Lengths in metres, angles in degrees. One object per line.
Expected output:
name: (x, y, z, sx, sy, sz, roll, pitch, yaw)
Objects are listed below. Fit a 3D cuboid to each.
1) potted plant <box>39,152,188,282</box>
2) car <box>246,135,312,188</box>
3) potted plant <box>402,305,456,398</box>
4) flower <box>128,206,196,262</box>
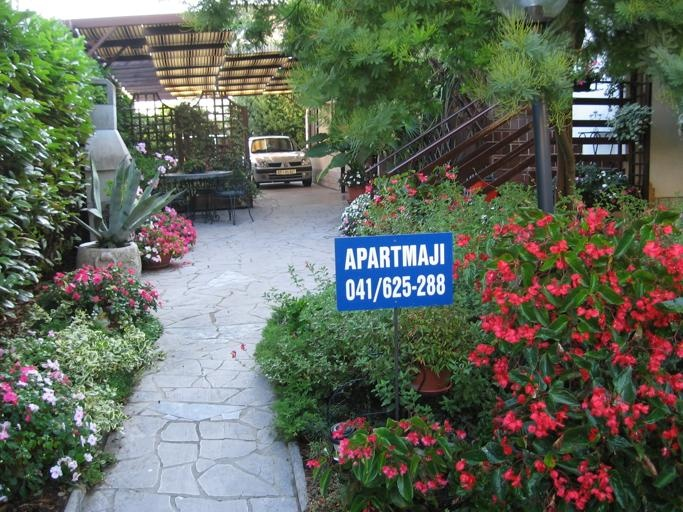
potted plant: (-2.629, -0.415, 6.583, 1.032, 1.525, 1.893, -9, 10, -26)
car: (-1.883, -2.814, 17.075, 1.719, 1.598, 1.670, -6, 9, -7)
potted plant: (0.556, 0.555, 3.645, 0.484, 0.561, 0.419, 3, 12, 18)
flower: (-2.579, -0.290, 8.067, 0.718, 0.520, 0.722, 10, 16, 38)
